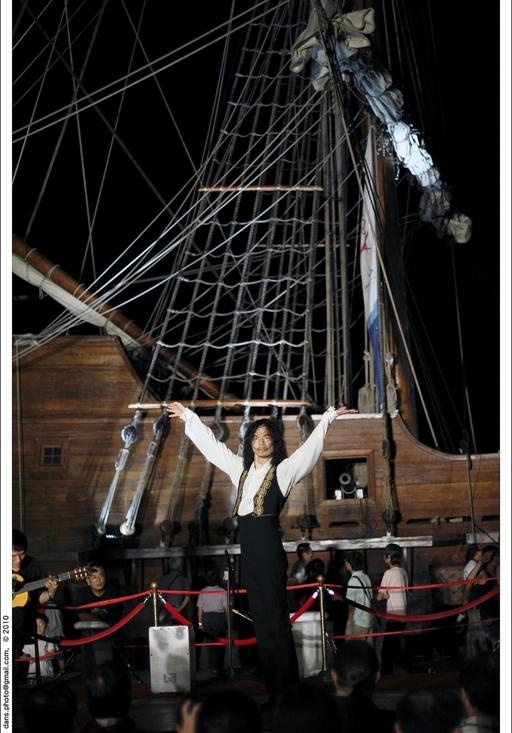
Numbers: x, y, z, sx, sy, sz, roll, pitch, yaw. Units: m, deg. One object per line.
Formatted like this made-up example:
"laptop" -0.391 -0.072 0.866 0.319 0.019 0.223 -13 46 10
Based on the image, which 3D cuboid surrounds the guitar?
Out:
"guitar" -1.417 1.556 4.380 0.102 0.281 0.726 -23 -11 38
